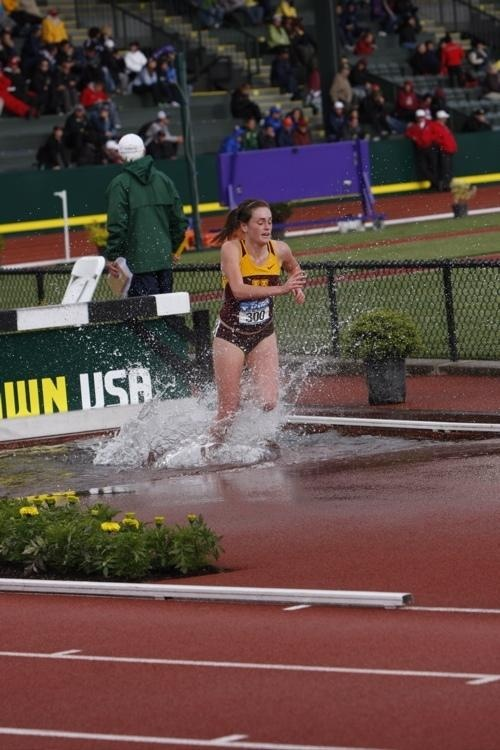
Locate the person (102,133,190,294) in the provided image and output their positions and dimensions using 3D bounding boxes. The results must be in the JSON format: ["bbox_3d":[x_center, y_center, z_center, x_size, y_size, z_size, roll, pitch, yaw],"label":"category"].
[{"bbox_3d":[-1.069,-1.619,9.489,0.917,1.619,0.465,-6,6,-22],"label":"person"}]

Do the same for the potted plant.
[{"bbox_3d":[1.288,-0.167,9.187,0.717,0.903,0.416,-3,5,5],"label":"potted plant"}]

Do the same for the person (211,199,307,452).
[{"bbox_3d":[0.041,-0.388,7.232,0.785,1.839,1.056,-4,5,3],"label":"person"}]

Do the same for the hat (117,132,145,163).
[{"bbox_3d":[-1.201,-2.335,9.555,0.284,0.340,0.363,3,2,-8],"label":"hat"}]
